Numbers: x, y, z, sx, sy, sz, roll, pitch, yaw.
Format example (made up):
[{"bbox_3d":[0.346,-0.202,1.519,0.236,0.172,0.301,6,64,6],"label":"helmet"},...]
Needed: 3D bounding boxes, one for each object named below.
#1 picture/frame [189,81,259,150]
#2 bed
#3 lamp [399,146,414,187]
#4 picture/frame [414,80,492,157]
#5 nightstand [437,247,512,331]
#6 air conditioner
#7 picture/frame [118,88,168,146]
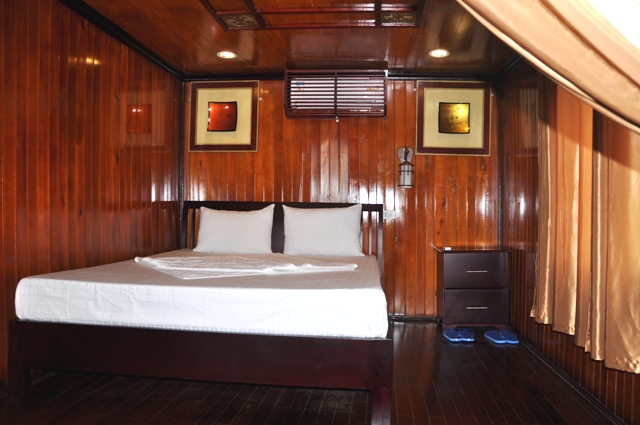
[{"bbox_3d":[-0.999,-1.027,5.643,0.722,0.750,0.061,0,-1,5],"label":"picture/frame"},{"bbox_3d":[-0.621,0.728,4.285,1.633,0.987,1.767,-1,-6,11],"label":"bed"},{"bbox_3d":[0.889,-0.457,5.428,0.148,0.422,0.142,0,9,0],"label":"lamp"},{"bbox_3d":[1.413,-0.992,5.460,0.761,0.780,0.055,1,-4,0],"label":"picture/frame"},{"bbox_3d":[1.479,0.751,5.276,0.662,0.698,0.700,-1,-9,7],"label":"nightstand"},{"bbox_3d":[0.176,-1.194,5.402,1.028,0.444,0.321,1,7,7],"label":"air conditioner"},{"bbox_3d":[-1.703,-0.906,5.002,0.121,0.484,0.514,4,4,19],"label":"picture/frame"}]
